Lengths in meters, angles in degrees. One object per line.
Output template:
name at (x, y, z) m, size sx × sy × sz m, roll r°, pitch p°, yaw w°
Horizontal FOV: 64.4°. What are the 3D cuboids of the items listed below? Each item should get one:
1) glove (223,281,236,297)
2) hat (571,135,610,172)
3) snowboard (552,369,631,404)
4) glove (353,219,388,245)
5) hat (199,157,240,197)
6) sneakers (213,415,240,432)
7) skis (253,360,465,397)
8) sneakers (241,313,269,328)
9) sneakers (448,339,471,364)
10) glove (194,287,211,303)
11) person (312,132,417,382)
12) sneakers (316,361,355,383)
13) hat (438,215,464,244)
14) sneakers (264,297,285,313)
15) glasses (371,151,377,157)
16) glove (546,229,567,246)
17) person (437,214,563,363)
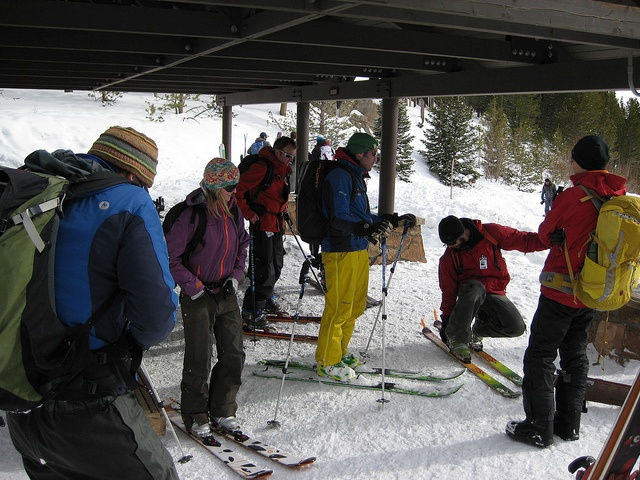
glove at (-0.721, 0.375, 4.049) m, size 0.086 × 0.158 × 0.160 m, roll -2°, pitch 8°, yaw -8°
hat at (2.049, -0.668, 3.965) m, size 0.286 × 0.267 × 0.220 m, roll 3°, pitch 4°, yaw 37°
snowboard at (2.633, 1.416, 4.907) m, size 0.649 × 0.151 × 0.676 m, roll 13°, pitch -7°, yaw 4°
glove at (0.450, -0.047, 4.463) m, size 0.212 × 0.117 × 0.231 m, roll -4°, pitch 14°, yaw -7°
hat at (-0.748, -0.522, 3.988) m, size 0.308 × 0.266 × 0.224 m, roll 5°, pitch 3°, yaw -14°
sneakers at (-0.748, 1.470, 4.058) m, size 0.186 × 0.089 × 0.108 m, roll 4°, pitch 30°, yaw 1°
skis at (0.342, 1.361, 4.940) m, size 1.228 × 0.101 × 0.294 m, roll 5°, pitch 1°, yaw 10°
sneakers at (-0.781, 0.975, 6.206) m, size 0.338 × 0.244 × 0.149 m, roll -1°, pitch 50°, yaw -5°
sneakers at (1.500, 1.190, 5.450) m, size 0.112 × 0.169 × 0.351 m, roll -1°, pitch 13°, yaw -22°
glove at (-0.888, 0.416, 3.840) m, size 0.105 × 0.047 × 0.089 m, roll -16°, pitch 58°, yaw -8°
person at (0.320, 0.194, 4.758) m, size 0.615 × 2.353 × 0.691 m, roll -9°, pitch 16°, yaw -42°
sneakers at (0.171, 1.255, 4.889) m, size 0.388 × 0.190 × 0.146 m, roll 1°, pitch 8°, yaw 8°
hat at (1.368, -0.091, 5.297) m, size 0.255 × 0.320 × 0.215 m, roll 4°, pitch 12°, yaw 13°
sneakers at (-0.565, 0.875, 6.744) m, size 0.350 × 0.184 × 0.123 m, roll 1°, pitch 9°, yaw 1°
glasses at (0.506, -0.808, 4.751) m, size 0.036 × 0.040 × 0.012 m, roll -3°, pitch 7°, yaw -36°
glove at (1.819, -0.021, 3.904) m, size 0.090 × 0.119 × 0.044 m, roll 14°, pitch 8°, yaw 33°
person at (1.884, 0.444, 5.438) m, size 1.152 × 1.458 × 0.901 m, roll 1°, pitch 6°, yaw 22°
